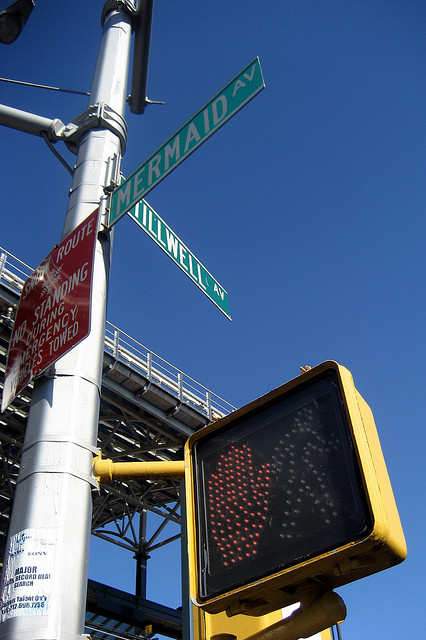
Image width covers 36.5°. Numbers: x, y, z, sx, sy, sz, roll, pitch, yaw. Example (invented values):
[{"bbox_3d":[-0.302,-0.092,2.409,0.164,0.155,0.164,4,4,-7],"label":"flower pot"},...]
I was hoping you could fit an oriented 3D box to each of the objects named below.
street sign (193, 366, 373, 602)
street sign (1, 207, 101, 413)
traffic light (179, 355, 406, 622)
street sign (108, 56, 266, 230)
[{"bbox_3d":[0.165,0.489,1.963,0.109,0.590,0.696,27,-45,-37],"label":"street sign"},{"bbox_3d":[-0.811,-0.082,3.295,0.192,0.977,0.849,20,-41,-31],"label":"street sign"},{"bbox_3d":[0.218,0.527,1.892,0.268,0.736,0.699,24,-43,-35],"label":"traffic light"},{"bbox_3d":[-0.175,-0.913,3.366,1.053,0.515,0.076,-28,-41,29],"label":"street sign"}]
